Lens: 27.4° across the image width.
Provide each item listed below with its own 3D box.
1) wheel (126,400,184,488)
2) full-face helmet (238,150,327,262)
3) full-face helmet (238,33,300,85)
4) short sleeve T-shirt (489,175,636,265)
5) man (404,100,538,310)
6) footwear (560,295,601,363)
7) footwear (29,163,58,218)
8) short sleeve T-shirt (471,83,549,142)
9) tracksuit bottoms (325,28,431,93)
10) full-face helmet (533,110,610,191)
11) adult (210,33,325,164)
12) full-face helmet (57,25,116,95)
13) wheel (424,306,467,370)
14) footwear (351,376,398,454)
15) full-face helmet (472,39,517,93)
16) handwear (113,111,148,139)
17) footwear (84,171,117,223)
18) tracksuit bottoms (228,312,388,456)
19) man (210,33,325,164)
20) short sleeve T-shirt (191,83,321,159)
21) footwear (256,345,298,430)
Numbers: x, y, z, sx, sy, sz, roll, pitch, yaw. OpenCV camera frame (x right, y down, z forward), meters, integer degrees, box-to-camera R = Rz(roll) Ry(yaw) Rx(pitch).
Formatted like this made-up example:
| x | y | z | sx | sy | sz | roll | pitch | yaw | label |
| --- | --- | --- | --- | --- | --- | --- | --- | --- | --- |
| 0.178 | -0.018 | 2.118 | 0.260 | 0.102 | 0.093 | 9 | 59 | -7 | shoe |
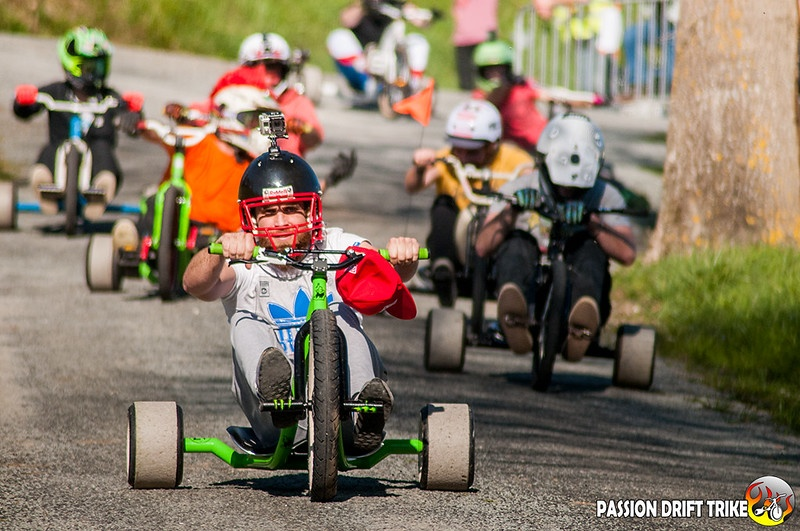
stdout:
| x | y | z | sx | sy | sz | roll | pitch | yaw | label |
| --- | --- | --- | --- | --- | --- | --- | --- | --- | --- |
| -1.974 | 1.373 | 13.130 | 0.494 | 0.811 | 0.769 | 1 | -3 | -7 | wheel |
| -0.924 | -0.504 | 12.869 | 0.564 | 0.703 | 0.806 | -4 | 14 | -3 | full-face helmet |
| -1.583 | -2.560 | 19.658 | 0.481 | 0.596 | 0.697 | -2 | -19 | -5 | full-face helmet |
| 1.464 | -0.456 | 15.186 | 0.730 | 0.810 | 1.242 | 1 | 5 | -2 | short sleeve T-shirt |
| 0.716 | -0.826 | 16.772 | 1.244 | 1.372 | 2.118 | -2 | 18 | 6 | man |
| 1.615 | 0.589 | 14.784 | 0.213 | 0.629 | 0.241 | 15 | 32 | 5 | footwear |
| -4.164 | -0.876 | 19.196 | 0.304 | 0.611 | 0.156 | -14 | 3 | -41 | footwear |
| 1.405 | -1.809 | 19.846 | 0.675 | 1.047 | 0.641 | -2 | 0 | 9 | short sleeve T-shirt |
| -0.337 | -3.680 | 29.674 | 1.085 | 1.508 | 2.278 | -6 | 17 | -32 | tracksuit bottoms |
| 1.507 | -1.025 | 14.760 | 0.530 | 0.621 | 0.664 | 3 | 26 | -4 | full-face helmet |
| -1.321 | -1.751 | 19.133 | 1.067 | 0.913 | 1.613 | 2 | 36 | -14 | adult |
| -3.741 | -2.456 | 19.558 | 0.579 | 0.752 | 0.740 | -2 | 0 | -15 | full-face helmet |
| 0.420 | 0.704 | 16.046 | 0.423 | 0.852 | 0.814 | 2 | 9 | 0 | wheel |
| -0.219 | 1.186 | 12.571 | 0.269 | 0.698 | 0.301 | 0 | 14 | -9 | footwear |
| 1.095 | -2.429 | 19.880 | 0.463 | 0.676 | 0.621 | -2 | -9 | 0 | full-face helmet |
| -3.064 | -1.607 | 18.610 | 0.324 | 0.151 | 0.457 | 7 | 10 | -6 | handwear |
| -3.486 | -0.839 | 19.117 | 0.244 | 0.740 | 0.255 | 18 | 2 | 16 | footwear |
| -0.789 | 0.883 | 12.719 | 0.880 | 1.300 | 0.473 | -6 | -2 | -17 | tracksuit bottoms |
| -1.337 | -1.775 | 19.089 | 1.067 | 0.913 | 1.613 | 2 | 36 | -14 | man |
| -1.452 | -1.651 | 18.480 | 0.937 | 0.789 | 1.325 | 19 | -10 | 18 | short sleeve T-shirt |
| -0.926 | 0.941 | 12.400 | 0.220 | 0.672 | 0.254 | 0 | -4 | -6 | footwear |
